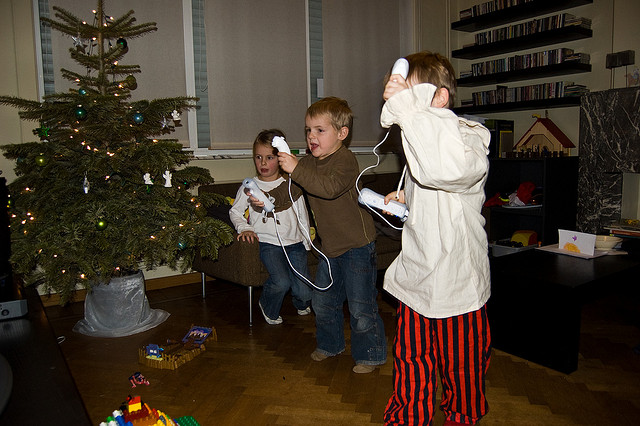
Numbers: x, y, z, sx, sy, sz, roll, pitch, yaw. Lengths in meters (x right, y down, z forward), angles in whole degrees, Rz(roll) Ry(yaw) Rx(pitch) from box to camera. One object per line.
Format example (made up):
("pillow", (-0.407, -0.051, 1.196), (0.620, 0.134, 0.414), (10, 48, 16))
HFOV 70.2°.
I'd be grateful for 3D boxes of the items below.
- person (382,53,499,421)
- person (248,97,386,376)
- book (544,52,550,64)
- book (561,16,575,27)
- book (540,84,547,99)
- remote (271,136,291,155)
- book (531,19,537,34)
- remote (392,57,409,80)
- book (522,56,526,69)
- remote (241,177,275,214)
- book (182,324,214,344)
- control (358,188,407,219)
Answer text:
("person", (0.573, 0.190, 2.202), (0.552, 1.785, 0.370), (1, 15, 8))
("person", (0.039, 0.114, 2.922), (0.667, 1.652, 0.748), (-2, 15, -6))
("book", (2.335, -1.595, 4.678), (0.050, 0.112, 0.023), (11, 19, 38))
("book", (2.473, -1.909, 4.524), (0.147, 0.135, 0.039), (8, 12, 20))
("book", (2.309, -1.256, 4.699), (0.050, 0.143, 0.080), (0, 15, 2))
("remote", (-0.227, -0.379, 2.581), (0.112, 0.081, 0.030), (29, -18, -7))
("book", (2.232, -1.961, 4.749), (0.024, 0.103, 0.101), (7, 2, 10))
("remote", (0.379, -0.676, 2.112), (0.059, 0.113, 0.037), (6, -17, 3))
("book", (2.173, -1.608, 4.834), (0.041, 0.116, 0.020), (12, 19, 40))
("remote", (-0.385, -0.112, 2.833), (0.167, 0.231, 0.258), (-2, 15, -6))
("book", (-0.866, 0.852, 3.199), (0.100, 0.038, 0.115), (3, 27, 18))
("control", (0.341, -0.052, 2.474), (0.294, 0.126, 0.072), (13, 20, 41))
